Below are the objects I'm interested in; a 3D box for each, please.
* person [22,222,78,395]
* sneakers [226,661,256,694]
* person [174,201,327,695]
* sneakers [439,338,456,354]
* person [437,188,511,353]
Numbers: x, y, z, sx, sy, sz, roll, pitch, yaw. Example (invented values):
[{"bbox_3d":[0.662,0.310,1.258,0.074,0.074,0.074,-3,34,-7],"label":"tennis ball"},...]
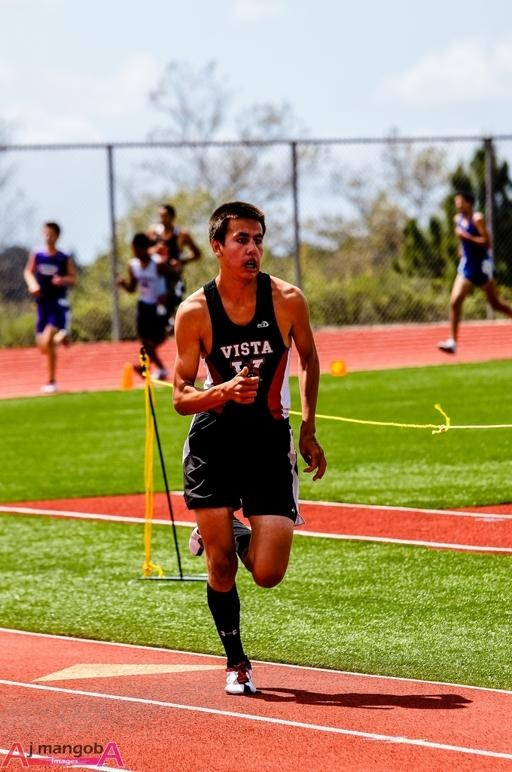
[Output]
[{"bbox_3d":[-2.080,-0.804,11.336,0.489,1.740,0.875,-2,3,-11],"label":"person"},{"bbox_3d":[-0.044,0.965,3.622,0.048,0.069,0.152,0,0,4],"label":"sneakers"},{"bbox_3d":[-0.032,0.198,3.651,0.349,1.605,0.591,1,4,30],"label":"person"},{"bbox_3d":[2.241,-0.473,12.960,0.107,0.148,0.332,3,11,2],"label":"sneakers"},{"bbox_3d":[2.595,-1.373,13.108,0.863,2.020,1.531,-1,3,9],"label":"person"}]
